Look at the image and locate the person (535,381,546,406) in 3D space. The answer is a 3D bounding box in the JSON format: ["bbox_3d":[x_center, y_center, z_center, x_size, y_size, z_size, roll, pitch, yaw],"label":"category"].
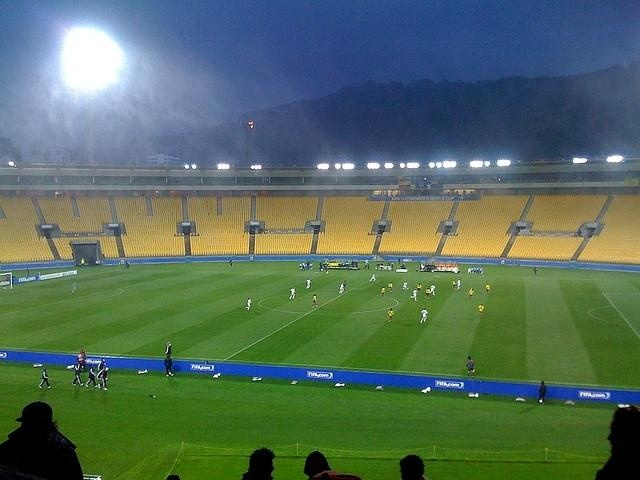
[{"bbox_3d":[10.991,7.435,23.739,0.417,0.948,0.815,3,0,24],"label":"person"}]
